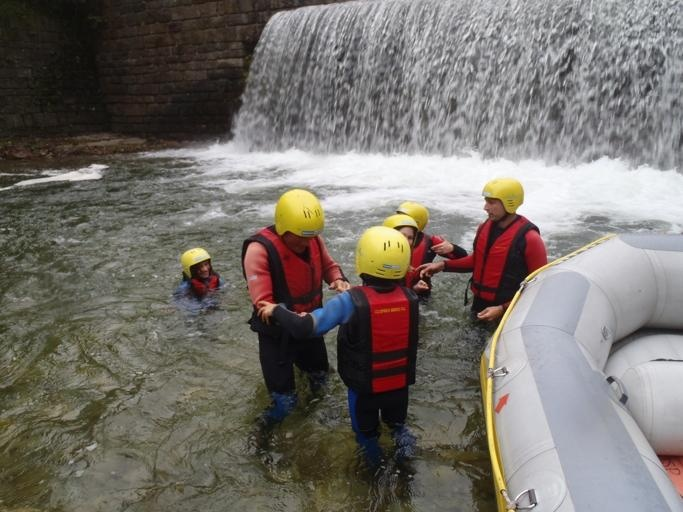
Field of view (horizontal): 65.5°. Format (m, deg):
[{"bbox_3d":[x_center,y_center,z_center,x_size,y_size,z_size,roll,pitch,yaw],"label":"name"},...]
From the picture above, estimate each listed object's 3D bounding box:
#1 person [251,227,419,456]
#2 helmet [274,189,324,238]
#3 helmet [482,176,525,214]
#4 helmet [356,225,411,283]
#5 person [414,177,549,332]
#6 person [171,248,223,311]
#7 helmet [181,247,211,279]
[{"bbox_3d":[0.153,0.724,4.158,0.937,1.688,0.723,-12,29,-24],"label":"person"},{"bbox_3d":[-0.371,-0.380,4.355,0.326,0.343,0.426,-6,45,-20],"label":"helmet"},{"bbox_3d":[1.631,-0.604,5.298,0.348,0.353,0.328,19,32,33],"label":"helmet"},{"bbox_3d":[0.328,0.005,4.273,0.445,0.398,0.519,6,6,2],"label":"helmet"},{"bbox_3d":[1.596,0.013,6.067,1.055,2.281,1.057,-20,39,-11],"label":"person"},{"bbox_3d":[-1.728,0.358,6.354,0.596,0.806,0.497,-16,16,-29],"label":"person"},{"bbox_3d":[-1.740,0.079,6.341,0.369,0.293,0.316,7,17,39],"label":"helmet"}]
